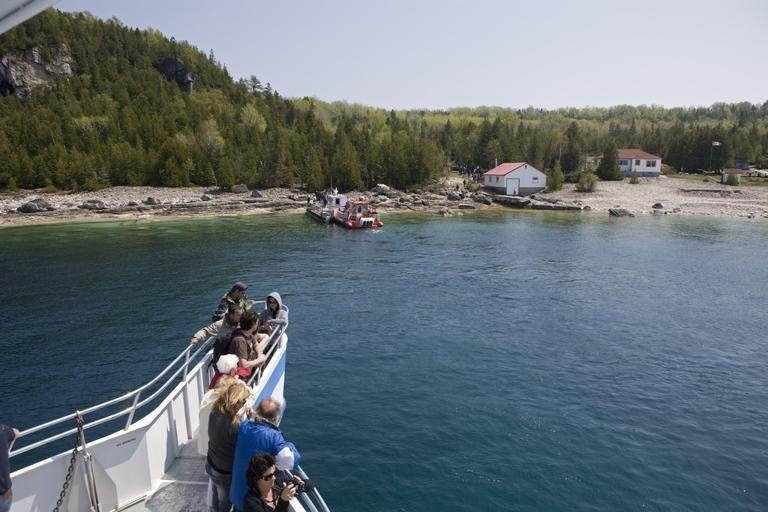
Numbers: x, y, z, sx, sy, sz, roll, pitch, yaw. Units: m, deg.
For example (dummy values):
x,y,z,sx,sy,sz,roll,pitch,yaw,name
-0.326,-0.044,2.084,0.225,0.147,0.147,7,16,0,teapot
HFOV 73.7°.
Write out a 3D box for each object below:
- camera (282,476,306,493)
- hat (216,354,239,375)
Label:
x,y,z,sx,sy,sz,roll,pitch,yaw,name
-2.283,6.002,13.501,0.465,0.173,0.442,4,3,-22,camera
-4.484,3.157,14.981,0.538,0.593,0.638,9,21,10,hat
